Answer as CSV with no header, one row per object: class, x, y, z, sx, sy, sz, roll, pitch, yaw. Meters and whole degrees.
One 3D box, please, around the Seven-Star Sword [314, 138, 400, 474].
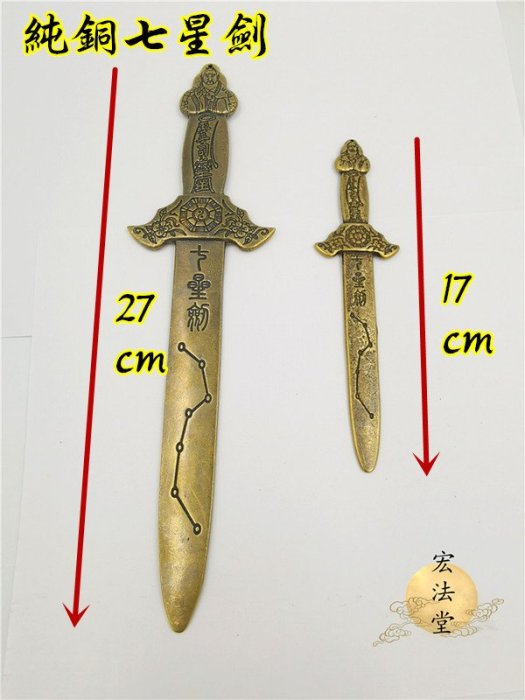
Seven-Star Sword,0.264,-0.083,2.731,0.273,0.898,0.020,-1,-11,-3
